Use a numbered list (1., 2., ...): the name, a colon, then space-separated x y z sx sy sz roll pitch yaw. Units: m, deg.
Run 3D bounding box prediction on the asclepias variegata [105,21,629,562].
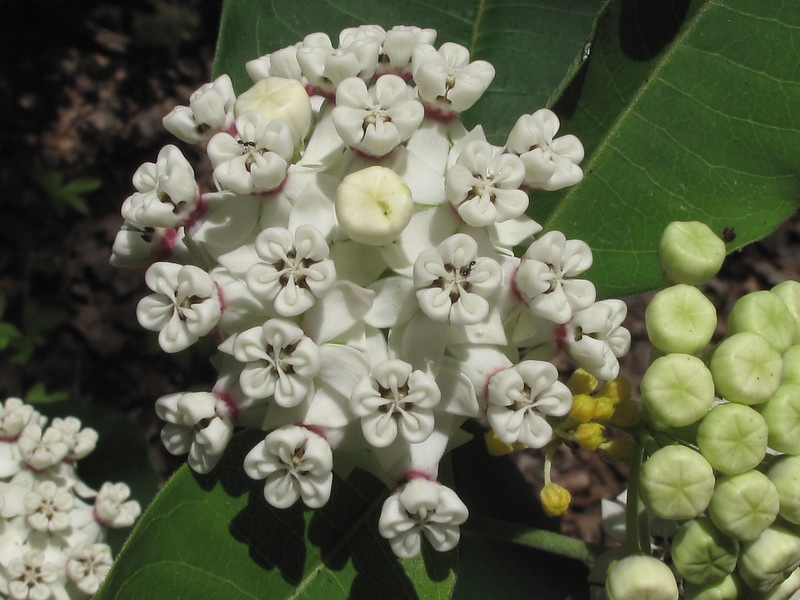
1. asclepias variegata: -0.075 -0.240 3.227 1.442 1.695 0.787 10 -34 -1
